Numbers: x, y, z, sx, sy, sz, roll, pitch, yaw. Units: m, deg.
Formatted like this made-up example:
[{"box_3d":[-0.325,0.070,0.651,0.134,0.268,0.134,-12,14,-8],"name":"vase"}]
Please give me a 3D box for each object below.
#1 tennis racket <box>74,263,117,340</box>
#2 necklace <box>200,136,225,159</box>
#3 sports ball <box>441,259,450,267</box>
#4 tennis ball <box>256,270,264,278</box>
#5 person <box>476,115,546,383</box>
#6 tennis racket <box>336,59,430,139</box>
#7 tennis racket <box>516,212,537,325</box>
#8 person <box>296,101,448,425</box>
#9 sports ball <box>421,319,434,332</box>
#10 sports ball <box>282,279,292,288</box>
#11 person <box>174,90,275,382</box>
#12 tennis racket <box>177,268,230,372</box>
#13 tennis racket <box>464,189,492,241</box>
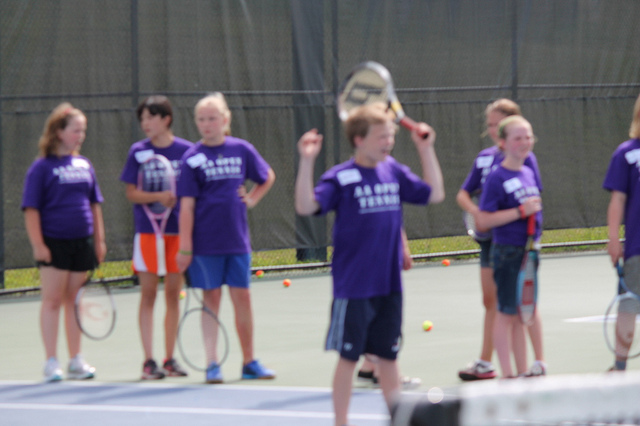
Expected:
[{"box_3d":[-2.089,0.904,7.625,0.289,0.633,0.533,-1,6,0],"name":"tennis racket"},{"box_3d":[-0.920,-0.576,7.030,0.148,0.199,0.047,-23,0,22],"name":"necklace"},{"box_3d":[2.029,0.796,12.999,0.083,0.108,0.117,2,-37,8],"name":"sports ball"},{"box_3d":[-0.901,0.915,12.119,0.096,0.074,0.085,-2,0,-34],"name":"tennis ball"},{"box_3d":[1.507,0.283,6.485,0.505,2.119,0.502,1,6,15],"name":"person"},{"box_3d":[0.550,-0.815,6.244,0.838,0.138,0.407,37,-13,-5],"name":"tennis racket"},{"box_3d":[1.608,0.438,6.354,0.128,0.864,0.280,4,8,43],"name":"tennis racket"},{"box_3d":[0.344,0.341,5.603,1.040,2.185,0.461,-4,7,-32],"name":"person"},{"box_3d":[1.190,1.245,8.903,0.098,0.108,0.097,3,2,0],"name":"sports ball"},{"box_3d":[-0.481,1.012,11.602,0.081,0.091,0.110,-29,-10,27],"name":"sports ball"},{"box_3d":[-0.840,0.235,7.144,0.822,2.519,0.366,-1,5,-5],"name":"person"},{"box_3d":[-1.036,1.040,7.388,0.430,1.053,0.083,-3,33,-4],"name":"tennis racket"},{"box_3d":[1.398,-0.007,7.254,0.145,0.482,0.193,6,0,35],"name":"tennis racket"}]
